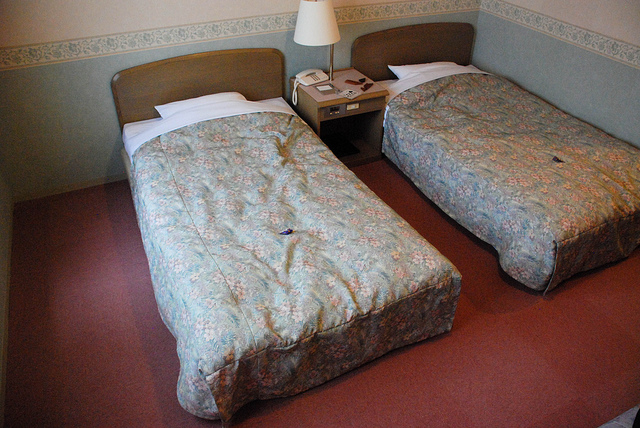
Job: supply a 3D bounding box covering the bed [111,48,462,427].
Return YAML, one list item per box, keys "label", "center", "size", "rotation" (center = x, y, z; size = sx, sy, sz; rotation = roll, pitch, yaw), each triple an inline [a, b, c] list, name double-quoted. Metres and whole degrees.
- label: "bed"
  center: [-0.343, 0.183, 3.717]
  size: [1.944, 0.928, 2.265]
  rotation: [-23, 45, -14]

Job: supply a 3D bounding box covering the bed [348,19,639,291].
- label: "bed"
  center: [1.525, -0.462, 4.842]
  size: [1.758, 1.419, 3.033]
  rotation: [-20, 48, -15]
